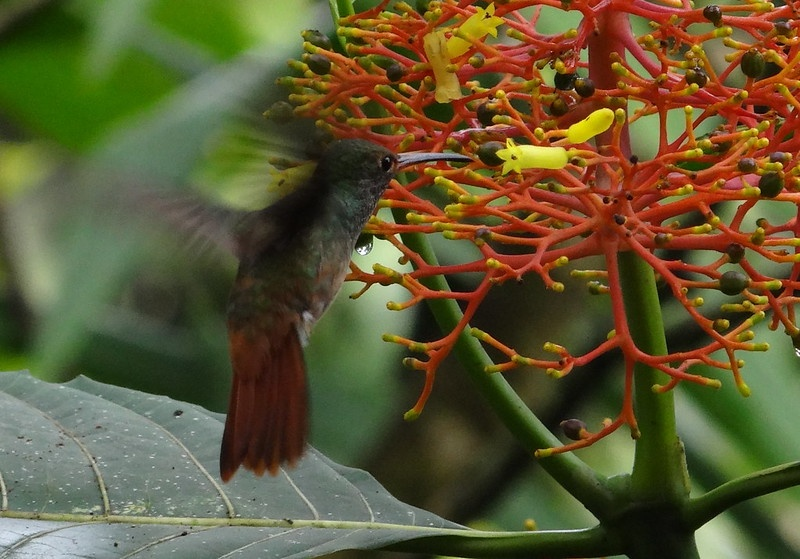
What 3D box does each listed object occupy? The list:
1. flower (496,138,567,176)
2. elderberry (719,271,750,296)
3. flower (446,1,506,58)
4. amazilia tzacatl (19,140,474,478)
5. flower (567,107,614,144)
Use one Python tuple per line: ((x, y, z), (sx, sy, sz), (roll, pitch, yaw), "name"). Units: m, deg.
((0.175, -0.160, 1.426), (0.081, 0.037, 0.048), (0, -11, -13), "flower")
((0.449, 0.004, 1.452), (0.038, 0.027, 0.028), (3, -18, -25), "elderberry")
((0.106, -0.352, 1.525), (0.057, 0.082, 0.084), (25, 5, -3), "flower")
((-0.159, 0.018, 1.508), (0.235, 0.411, 0.534), (60, -20, -14), "amazilia tzacatl")
((0.263, -0.212, 1.444), (0.030, 0.068, 0.029), (-27, -63, 40), "flower")
